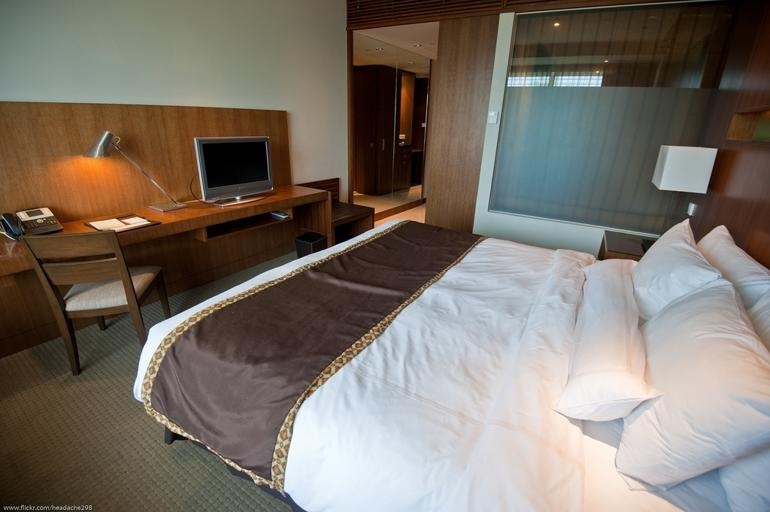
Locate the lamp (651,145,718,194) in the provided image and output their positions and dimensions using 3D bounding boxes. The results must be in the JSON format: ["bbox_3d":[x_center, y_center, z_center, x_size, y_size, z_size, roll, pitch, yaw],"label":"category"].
[{"bbox_3d":[2.278,-0.679,3.599,0.392,0.319,0.220,21,31,39],"label":"lamp"}]

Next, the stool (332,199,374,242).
[{"bbox_3d":[-0.396,-0.383,5.191,0.470,0.464,0.462,8,22,28],"label":"stool"}]

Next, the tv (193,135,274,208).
[{"bbox_3d":[-1.382,-0.754,4.176,0.163,0.464,0.628,17,26,30],"label":"tv"}]
